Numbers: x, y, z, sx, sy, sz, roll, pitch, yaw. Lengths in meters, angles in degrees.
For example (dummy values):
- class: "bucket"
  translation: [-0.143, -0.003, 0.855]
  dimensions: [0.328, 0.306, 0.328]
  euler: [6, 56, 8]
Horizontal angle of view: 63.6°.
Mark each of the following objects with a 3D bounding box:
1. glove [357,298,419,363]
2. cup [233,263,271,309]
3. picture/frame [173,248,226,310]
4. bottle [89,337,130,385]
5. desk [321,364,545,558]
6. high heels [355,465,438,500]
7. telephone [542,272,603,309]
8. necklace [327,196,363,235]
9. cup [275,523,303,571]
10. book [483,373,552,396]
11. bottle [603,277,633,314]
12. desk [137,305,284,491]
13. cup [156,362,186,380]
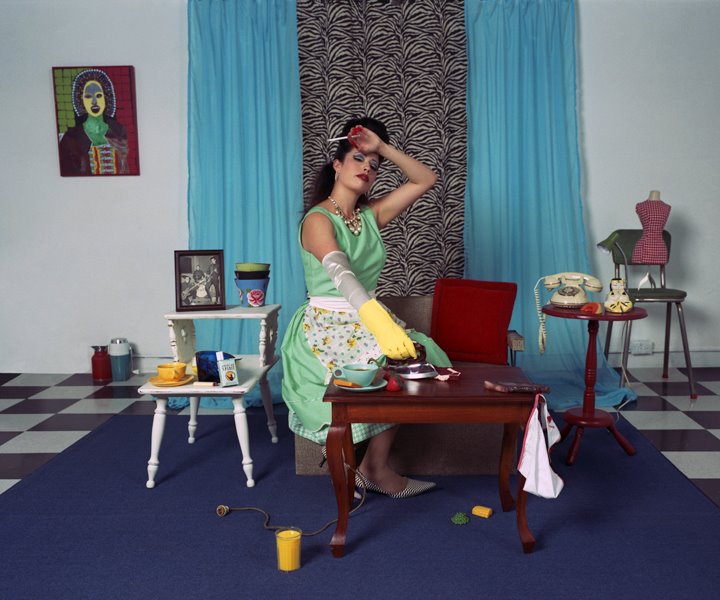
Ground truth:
- class: "glove"
  translation: [0.094, 0.111, 2.032]
  dimensions: [0.134, 0.246, 0.063]
  euler: [-39, -26, 1]
- class: "cup"
  translation: [-0.554, -0.077, 3.077]
  dimensions: [0.206, 0.237, 0.202]
  euler: [0, 0, 0]
- class: "picture/frame"
  translation: [-0.805, -0.103, 2.897]
  dimensions: [0.301, 0.392, 0.041]
  euler: [-2, -10, -11]
- class: "bottle"
  translation: [-1.788, 0.436, 4.137]
  dimensions: [0.333, 0.350, 0.206]
  euler: [2, 1, 2]
- class: "desk"
  translation: [0.263, 0.614, 2.243]
  dimensions: [0.746, 0.579, 0.624]
  euler: [-1, -5, 8]
- class: "high heels"
  translation: [0.158, 0.806, 2.620]
  dimensions: [0.397, 0.170, 0.132]
  euler: [-3, -3, 0]
- class: "telephone"
  translation: [1.070, -0.085, 2.970]
  dimensions: [0.243, 0.126, 0.187]
  euler: [1, 12, 25]
- class: "necklace"
  translation: [-0.060, -0.366, 2.527]
  dimensions: [0.146, 0.157, 0.146]
  euler: [-4, 11, -14]
- class: "cup"
  translation: [-0.256, 0.896, 2.097]
  dimensions: [0.114, 0.132, 0.118]
  euler: [0, 0, 0]
- class: "book"
  translation: [0.546, 0.302, 2.069]
  dimensions: [0.211, 0.031, 0.171]
  euler: [0, 11, 6]
- class: "bottle"
  translation: [1.291, -0.003, 2.932]
  dimensions: [0.122, 0.191, 0.078]
  euler: [0, -21, 16]
- class: "desk"
  translation: [-0.740, 0.471, 2.997]
  dimensions: [0.532, 0.762, 0.945]
  euler: [0, 2, 2]
- class: "cup"
  translation: [-0.860, 0.323, 2.637]
  dimensions: [0.123, 0.073, 0.085]
  euler: [-4, 12, -17]
